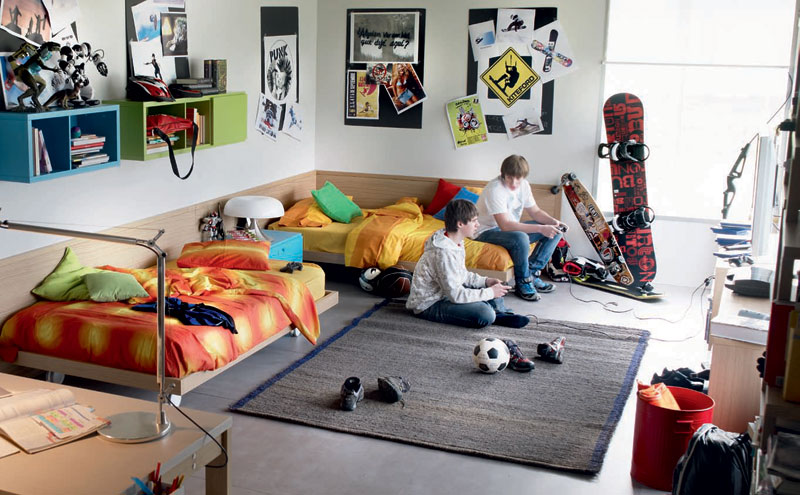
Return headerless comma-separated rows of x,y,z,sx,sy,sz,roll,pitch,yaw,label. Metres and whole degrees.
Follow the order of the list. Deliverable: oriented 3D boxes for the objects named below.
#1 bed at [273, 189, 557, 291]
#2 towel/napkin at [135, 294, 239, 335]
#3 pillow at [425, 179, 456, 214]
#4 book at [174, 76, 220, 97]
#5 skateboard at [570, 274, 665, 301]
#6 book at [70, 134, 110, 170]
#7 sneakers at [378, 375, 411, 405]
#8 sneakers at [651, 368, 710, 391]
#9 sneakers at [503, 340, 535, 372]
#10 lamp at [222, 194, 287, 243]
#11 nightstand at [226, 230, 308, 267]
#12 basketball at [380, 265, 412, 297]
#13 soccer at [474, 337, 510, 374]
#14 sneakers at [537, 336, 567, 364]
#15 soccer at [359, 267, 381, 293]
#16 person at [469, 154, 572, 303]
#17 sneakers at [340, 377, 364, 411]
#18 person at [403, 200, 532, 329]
-0.035,-0.114,6.443,2.146,0.659,1.482,4,17,17,bed
-1.672,0.497,4.020,0.556,0.125,0.365,6,9,-5,towel/napkin
0.549,-0.666,7.168,0.154,0.465,0.493,22,20,-34,pillow
-2.088,-1.613,5.278,0.263,0.088,0.356,7,10,38,book
2.675,0.497,6.450,1.022,0.078,0.137,10,42,27,skateboard
-2.570,-0.788,4.286,0.275,0.165,0.363,-7,14,-27,book
-0.052,1.092,4.171,0.215,0.185,0.258,2,16,10,sneakers
2.138,0.990,3.958,0.419,0.159,0.220,-2,10,4,sneakers
1.064,0.975,4.624,0.130,0.159,0.363,-6,8,-38,sneakers
-1.722,-0.382,6.053,0.601,0.507,0.599,6,11,34,lamp
-1.372,-0.025,6.064,0.396,0.473,0.529,5,13,21,nightstand
-0.101,0.390,6.119,0.296,0.327,0.372,-13,37,-23,basketball
0.783,0.932,4.630,0.309,0.285,0.297,0,3,-26,soccer
1.358,0.935,4.726,0.161,0.127,0.279,3,4,31,sneakers
-0.357,0.375,6.222,0.228,0.227,0.303,32,7,6,soccer
1.454,-0.286,6.280,0.931,1.562,1.147,-14,19,-42,person
-0.387,1.128,4.051,0.155,0.178,0.227,4,16,15,sneakers
0.770,0.176,5.484,1.378,1.233,1.017,7,13,16,person
